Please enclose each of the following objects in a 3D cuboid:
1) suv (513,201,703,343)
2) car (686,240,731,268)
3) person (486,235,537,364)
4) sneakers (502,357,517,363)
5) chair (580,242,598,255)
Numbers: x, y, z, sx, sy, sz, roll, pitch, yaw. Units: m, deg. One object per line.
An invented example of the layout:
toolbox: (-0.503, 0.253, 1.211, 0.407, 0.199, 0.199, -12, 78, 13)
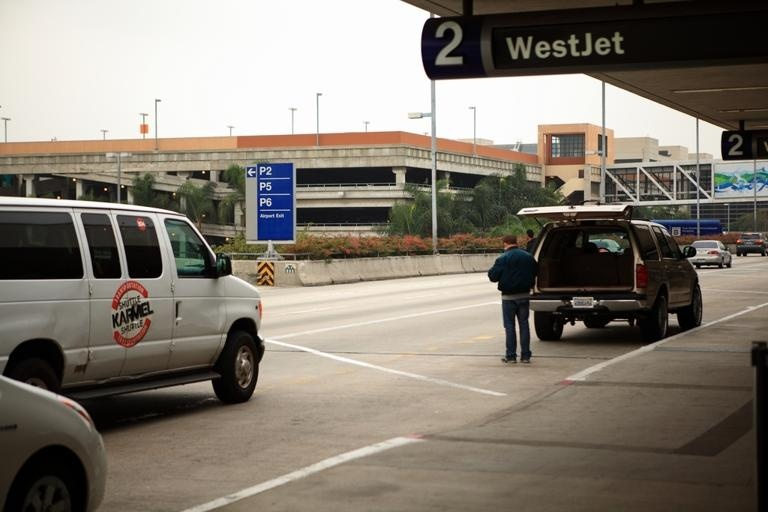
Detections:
suv: (4.718, 0.369, 17.646, 4.065, 2.980, 2.602, -2, 6, -4)
car: (17.609, -0.030, 45.019, 1.410, 1.229, 3.568, -1, 3, 23)
person: (2.441, 0.809, 15.651, 0.823, 2.391, 1.430, -1, 6, 10)
sneakers: (2.284, 1.915, 15.302, 0.277, 0.106, 0.173, -1, 6, 12)
chair: (4.457, -0.151, 18.116, 0.275, 0.298, 0.294, 3, -1, 16)
